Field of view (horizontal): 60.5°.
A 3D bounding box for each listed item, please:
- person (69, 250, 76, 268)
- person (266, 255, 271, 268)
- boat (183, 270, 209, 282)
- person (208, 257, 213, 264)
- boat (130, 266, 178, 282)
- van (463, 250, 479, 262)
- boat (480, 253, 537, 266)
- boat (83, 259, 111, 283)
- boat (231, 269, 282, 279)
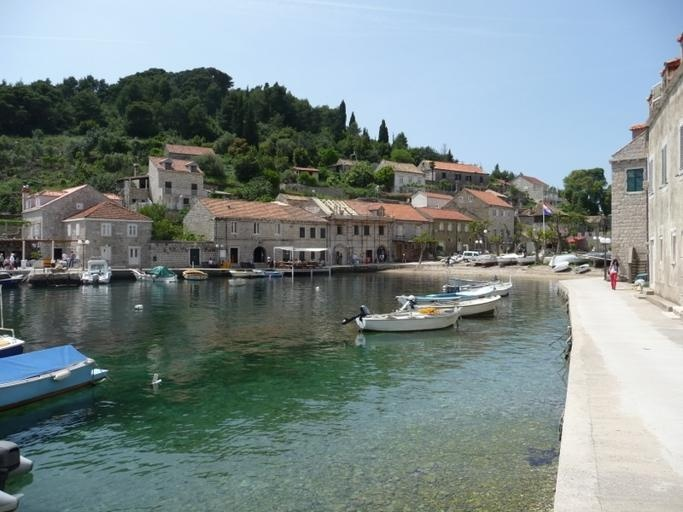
[{"bbox_3d":[-27.048,0.486,58.768,0.630,1.459,2.008,-3,6,-22],"label":"person"},{"bbox_3d":[-8.345,0.702,67.692,0.472,1.053,1.105,-1,6,-7],"label":"person"},{"bbox_3d":[-14.872,1.934,59.513,2.375,0.982,2.758,-2,6,-12],"label":"boat"},{"bbox_3d":[-14.267,0.481,63.795,0.532,0.772,1.175,-2,6,-15],"label":"person"},{"bbox_3d":[-18.177,1.902,57.332,4.417,1.226,1.792,5,2,32],"label":"boat"},{"bbox_3d":[16.631,0.027,75.609,1.876,1.043,1.294,-3,5,25],"label":"van"},{"bbox_3d":[20.971,0.556,73.876,4.748,1.133,1.276,-3,3,-9],"label":"boat"},{"bbox_3d":[-22.636,1.485,53.942,2.258,2.079,2.567,-2,6,-11],"label":"boat"},{"bbox_3d":[-9.025,1.907,61.794,5.101,0.959,1.407,-3,6,-24],"label":"boat"}]
